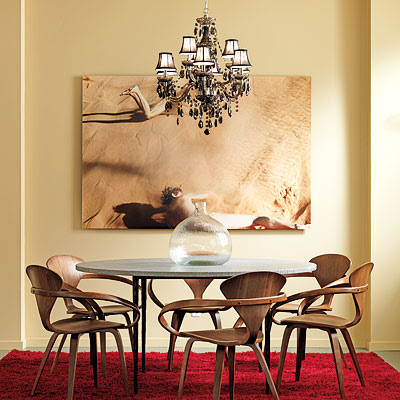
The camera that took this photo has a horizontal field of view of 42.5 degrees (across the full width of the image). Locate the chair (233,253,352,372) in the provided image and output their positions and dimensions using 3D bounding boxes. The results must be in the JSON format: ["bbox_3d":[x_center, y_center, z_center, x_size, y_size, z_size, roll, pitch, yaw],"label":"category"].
[{"bbox_3d":[0.913,0.932,4.027,0.715,0.925,0.728,-7,-8,-26],"label":"chair"}]

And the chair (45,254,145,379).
[{"bbox_3d":[-0.708,0.795,3.562,0.607,0.859,0.725,-5,-1,10],"label":"chair"}]

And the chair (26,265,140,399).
[{"bbox_3d":[-0.815,0.710,3.414,0.713,1.079,0.889,3,-5,-32],"label":"chair"}]

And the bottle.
[{"bbox_3d":[0.001,0.212,3.118,0.288,0.357,0.296,12,15,44],"label":"bottle"}]

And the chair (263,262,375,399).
[{"bbox_3d":[0.858,0.820,3.673,0.733,1.189,0.813,0,-8,19],"label":"chair"}]

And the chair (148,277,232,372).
[{"bbox_3d":[0.005,0.836,3.569,0.593,0.525,0.672,6,-18,-1],"label":"chair"}]
